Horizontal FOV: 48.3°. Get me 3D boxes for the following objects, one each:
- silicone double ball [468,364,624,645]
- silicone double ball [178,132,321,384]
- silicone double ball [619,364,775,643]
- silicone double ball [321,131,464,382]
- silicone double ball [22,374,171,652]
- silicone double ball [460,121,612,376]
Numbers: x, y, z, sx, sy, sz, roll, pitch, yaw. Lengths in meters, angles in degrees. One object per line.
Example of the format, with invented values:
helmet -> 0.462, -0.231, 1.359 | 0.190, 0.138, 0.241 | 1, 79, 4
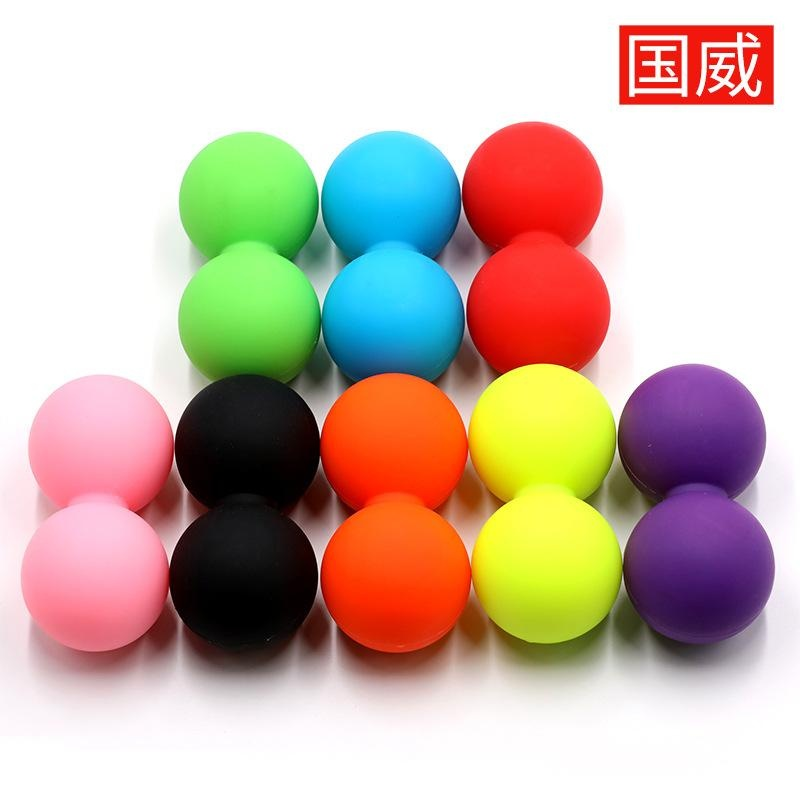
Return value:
silicone double ball -> 0.295, 0.204, 1.692 | 0.204, 0.265, 0.543 | -5, 42, 16
silicone double ball -> -0.307, -0.272, 1.916 | 0.242, 0.243, 0.622 | -20, 59, 28
silicone double ball -> 0.563, 0.197, 1.646 | 0.219, 0.217, 0.537 | -22, 47, 48
silicone double ball -> -0.018, -0.315, 1.978 | 0.207, 0.264, 0.621 | 1, 60, -4
silicone double ball -> -0.570, 0.244, 1.667 | 0.229, 0.299, 0.613 | -1, 46, -15
silicone double ball -> 0.290, -0.396, 1.947 | 0.222, 0.271, 0.638 | -15, 56, 21
